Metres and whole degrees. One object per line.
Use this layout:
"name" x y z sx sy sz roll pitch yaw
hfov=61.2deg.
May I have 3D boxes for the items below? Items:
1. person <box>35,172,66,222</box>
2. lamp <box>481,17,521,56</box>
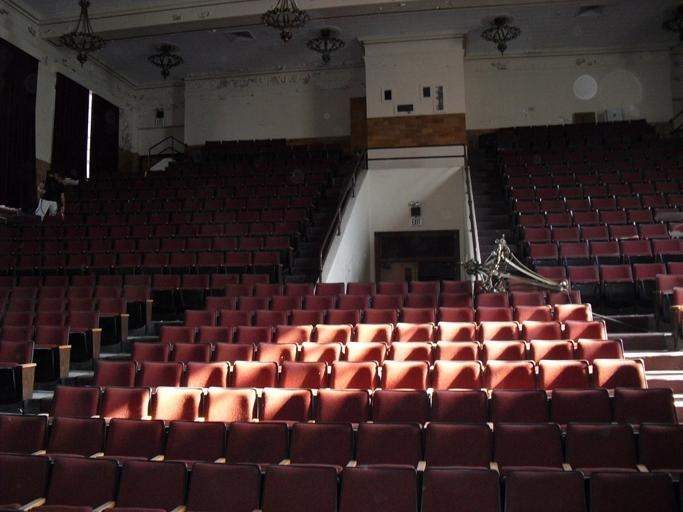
"person" -4.715 -0.974 9.357 0.336 0.294 1.019 -2 -37 -39
"lamp" 2.770 -3.801 10.056 0.629 0.647 1.088 0 9 15
